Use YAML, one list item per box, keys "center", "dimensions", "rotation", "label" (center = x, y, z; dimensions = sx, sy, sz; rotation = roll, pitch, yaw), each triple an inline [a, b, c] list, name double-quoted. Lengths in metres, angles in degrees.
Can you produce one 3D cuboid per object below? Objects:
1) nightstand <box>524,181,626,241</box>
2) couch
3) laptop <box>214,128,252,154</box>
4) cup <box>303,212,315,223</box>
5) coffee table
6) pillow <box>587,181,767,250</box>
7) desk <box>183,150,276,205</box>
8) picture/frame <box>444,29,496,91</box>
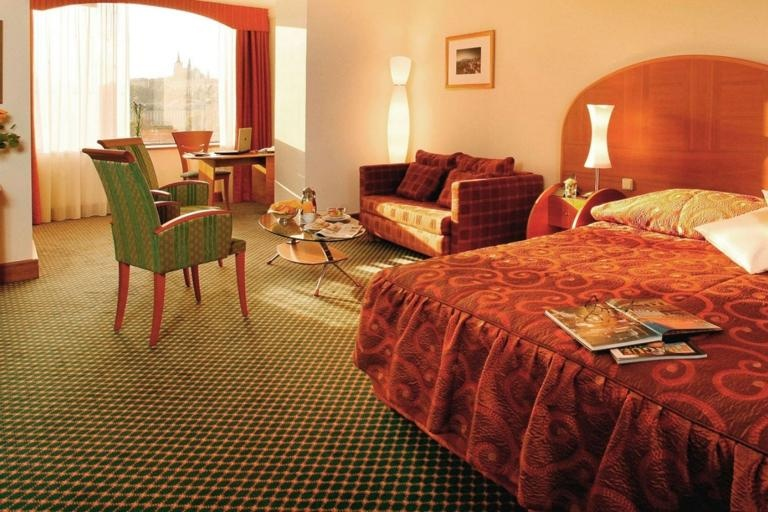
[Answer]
- center: [1.707, -0.450, 4.975]
  dimensions: [1.011, 0.709, 0.496]
  rotation: [-12, 19, -33]
  label: "nightstand"
- center: [0.636, -0.633, 5.777]
  dimensions: [1.217, 0.890, 1.858]
  rotation: [-14, 23, -26]
  label: "couch"
- center: [-2.228, -1.718, 7.530]
  dimensions: [0.506, 0.342, 0.638]
  rotation: [7, 12, 20]
  label: "laptop"
- center: [-0.667, -0.339, 4.471]
  dimensions: [0.115, 0.070, 0.104]
  rotation: [3, 6, 27]
  label: "cup"
- center: [-0.697, -0.056, 4.770]
  dimensions: [0.803, 0.426, 1.081]
  rotation: [-13, 22, -37]
  label: "coffee table"
- center: [2.052, -0.310, 3.574]
  dimensions: [0.745, 0.134, 0.663]
  rotation: [-13, 12, -19]
  label: "pillow"
- center: [-2.160, -1.129, 7.065]
  dimensions: [0.703, 0.666, 1.368]
  rotation: [11, 14, 42]
  label: "desk"
- center: [0.994, -2.294, 5.966]
  dimensions: [0.879, 0.598, 0.048]
  rotation: [-23, 35, -35]
  label: "picture/frame"
